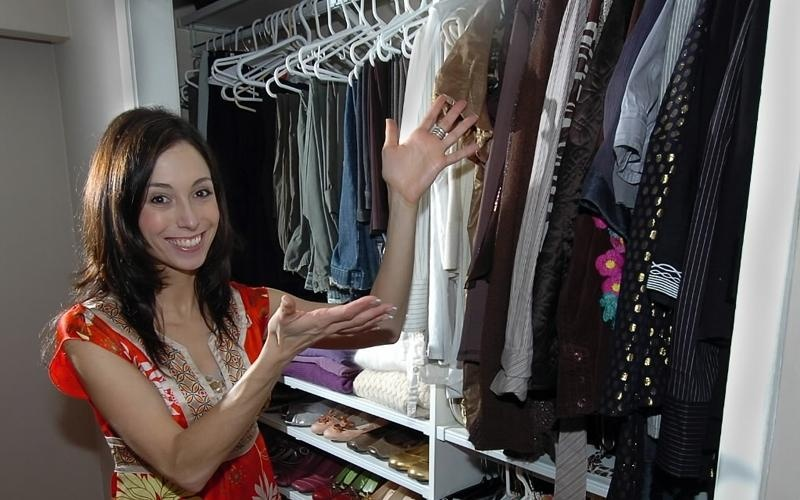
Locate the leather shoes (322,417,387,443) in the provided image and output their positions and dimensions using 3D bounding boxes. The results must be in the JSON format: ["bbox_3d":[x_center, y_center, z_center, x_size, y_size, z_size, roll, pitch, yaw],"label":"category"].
[{"bbox_3d":[-0.200,0.797,2.623,0.279,0.081,0.104,-10,13,-32],"label":"leather shoes"}]

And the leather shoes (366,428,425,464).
[{"bbox_3d":[-0.017,0.836,2.526,0.088,0.075,0.266,3,0,30],"label":"leather shoes"}]

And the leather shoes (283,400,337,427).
[{"bbox_3d":[-0.428,0.778,2.794,0.184,0.075,0.111,0,1,-43],"label":"leather shoes"}]

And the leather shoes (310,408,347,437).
[{"bbox_3d":[-0.321,0.787,2.691,0.072,0.067,0.201,1,17,28],"label":"leather shoes"}]

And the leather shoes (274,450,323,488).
[{"bbox_3d":[-0.471,1.032,2.799,0.093,0.074,0.262,12,28,32],"label":"leather shoes"}]

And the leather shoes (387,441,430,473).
[{"bbox_3d":[0.040,0.857,2.422,0.069,0.036,0.170,2,3,30],"label":"leather shoes"}]
